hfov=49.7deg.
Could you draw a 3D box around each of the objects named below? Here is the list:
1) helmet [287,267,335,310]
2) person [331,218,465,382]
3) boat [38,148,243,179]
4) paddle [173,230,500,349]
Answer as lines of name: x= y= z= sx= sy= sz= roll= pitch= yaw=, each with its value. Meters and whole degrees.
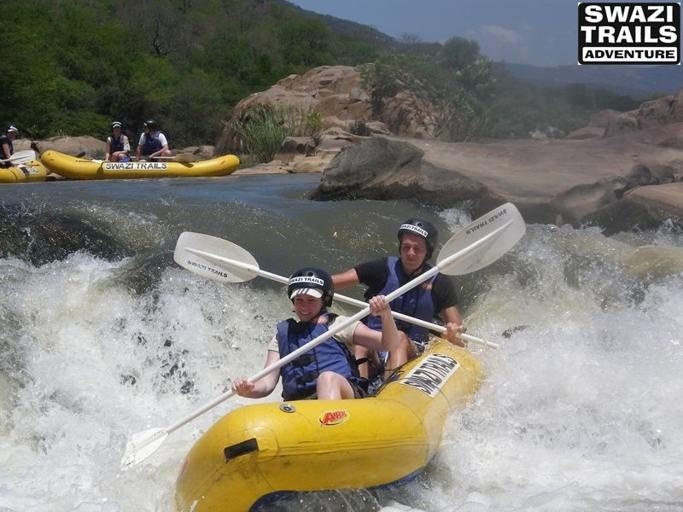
helmet: x=-0.270 y=0.248 z=6.399 sx=0.254 sy=0.365 sz=0.270 roll=3 pitch=27 yaw=15
person: x=0.550 y=0.477 z=7.205 sx=1.155 sy=1.136 sz=0.881 roll=26 pitch=3 yaw=24
boat: x=-4.013 y=-1.696 z=14.418 sx=3.018 sy=0.543 sz=1.392 roll=0 pitch=1 yaw=-18
paddle: x=-0.119 y=0.376 z=7.538 sx=4.160 sy=0.587 sz=0.222 roll=15 pitch=6 yaw=6
